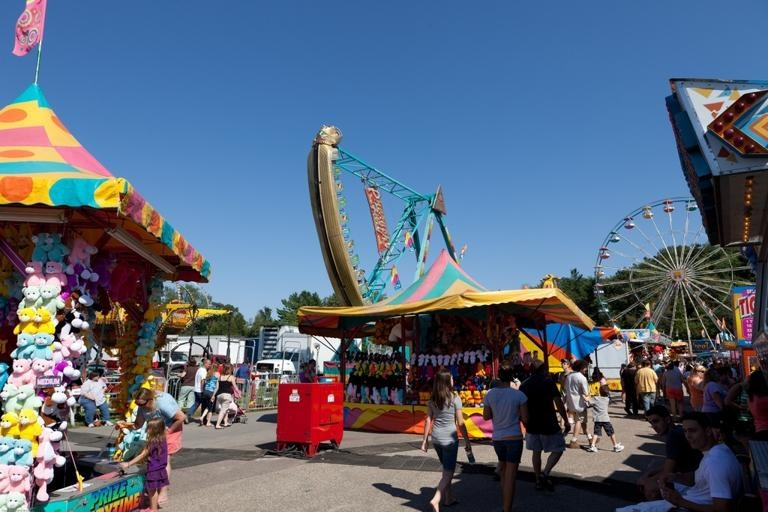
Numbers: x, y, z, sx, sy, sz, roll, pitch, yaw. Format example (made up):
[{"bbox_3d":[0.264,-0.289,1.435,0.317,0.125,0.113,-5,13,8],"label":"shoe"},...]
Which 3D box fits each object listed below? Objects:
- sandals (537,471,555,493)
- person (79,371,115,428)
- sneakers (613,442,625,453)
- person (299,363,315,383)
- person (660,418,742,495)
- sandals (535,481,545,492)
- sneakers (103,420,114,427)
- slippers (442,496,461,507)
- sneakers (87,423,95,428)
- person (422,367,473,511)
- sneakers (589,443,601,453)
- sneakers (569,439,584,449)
[{"bbox_3d":[2.735,3.877,8.732,0.171,0.183,0.443,2,-47,27],"label":"sandals"},{"bbox_3d":[-8.142,3.971,14.913,0.980,1.590,0.753,-5,19,-5],"label":"person"},{"bbox_3d":[5.317,4.328,11.684,0.186,0.206,0.461,-4,-5,34],"label":"sneakers"},{"bbox_3d":[-2.334,3.510,15.709,0.393,0.728,2.033,1,-17,-10],"label":"person"},{"bbox_3d":[3.741,2.433,6.311,0.800,0.992,1.044,-4,-31,20],"label":"person"},{"bbox_3d":[2.625,3.899,8.693,0.081,0.155,0.221,-4,-8,26],"label":"sandals"},{"bbox_3d":[-8.107,4.936,15.139,0.358,0.168,0.138,5,-12,1],"label":"sneakers"},{"bbox_3d":[1.090,3.916,8.173,0.231,0.098,0.117,-4,-6,-8],"label":"slippers"},{"bbox_3d":[-8.363,4.828,14.674,0.190,0.084,0.186,-25,-22,0],"label":"sneakers"},{"bbox_3d":[1.002,2.949,8.284,0.760,2.085,1.212,-3,-15,5],"label":"person"},{"bbox_3d":[4.668,4.303,11.522,0.203,0.165,0.444,-8,-18,20],"label":"sneakers"},{"bbox_3d":[4.468,4.369,11.974,0.155,0.221,0.502,-6,-10,43],"label":"sneakers"}]
